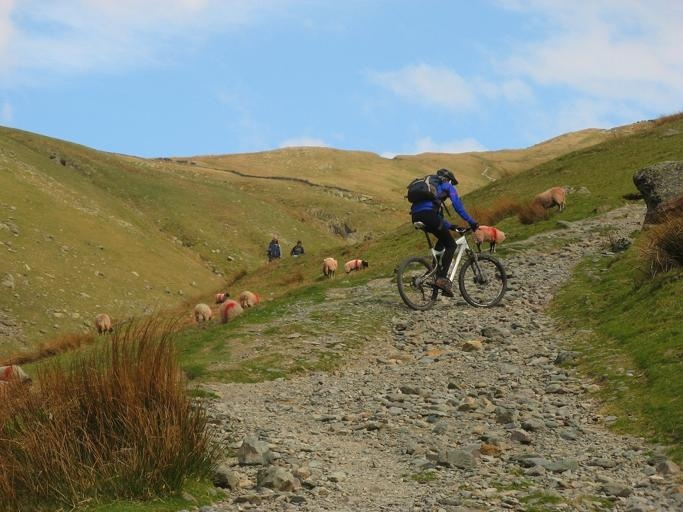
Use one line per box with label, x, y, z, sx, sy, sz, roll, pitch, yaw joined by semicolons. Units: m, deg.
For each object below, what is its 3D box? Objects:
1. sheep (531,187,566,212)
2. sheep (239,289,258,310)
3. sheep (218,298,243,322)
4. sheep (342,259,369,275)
sheep;9.204;-2.615;43.077;1.357;1.012;2.315;-3;12;11
sheep;-4.022;1.855;42.132;0.587;0.518;1.112;1;0;18
sheep;-4.321;2.102;37.482;0.871;0.811;0.978;7;12;2
sheep;0.658;0.492;46.237;1.073;0.709;1.288;-6;12;-2
